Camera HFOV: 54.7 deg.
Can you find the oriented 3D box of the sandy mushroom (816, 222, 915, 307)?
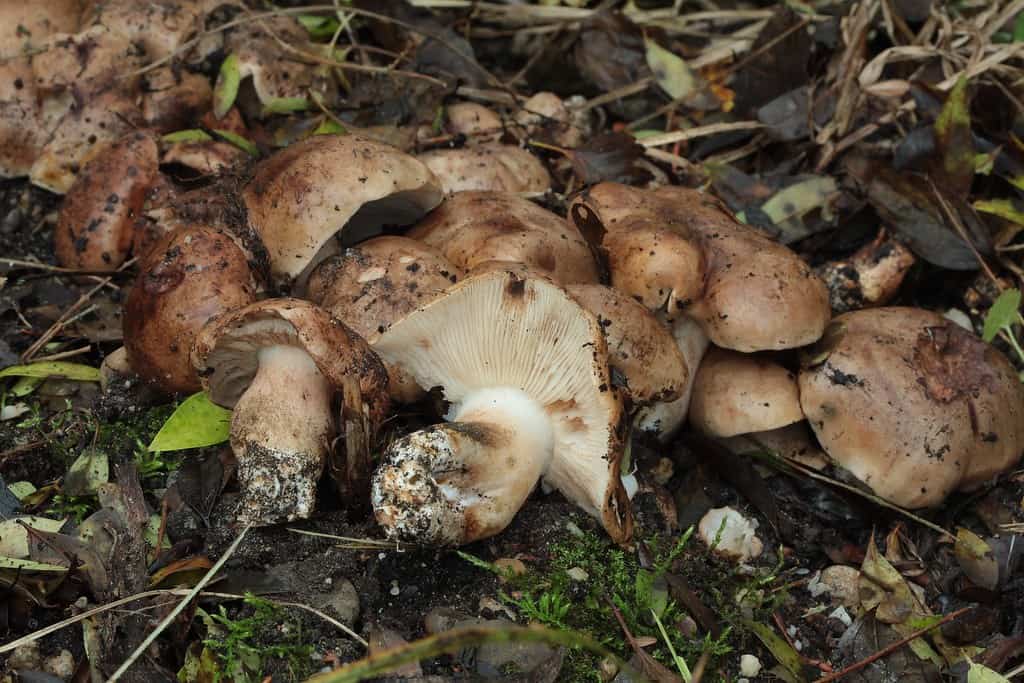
[{"bbox_3d":[2.226,-0.437,6.213,0.543,0.218,0.424,-34,58,3],"label":"sandy mushroom"}]
